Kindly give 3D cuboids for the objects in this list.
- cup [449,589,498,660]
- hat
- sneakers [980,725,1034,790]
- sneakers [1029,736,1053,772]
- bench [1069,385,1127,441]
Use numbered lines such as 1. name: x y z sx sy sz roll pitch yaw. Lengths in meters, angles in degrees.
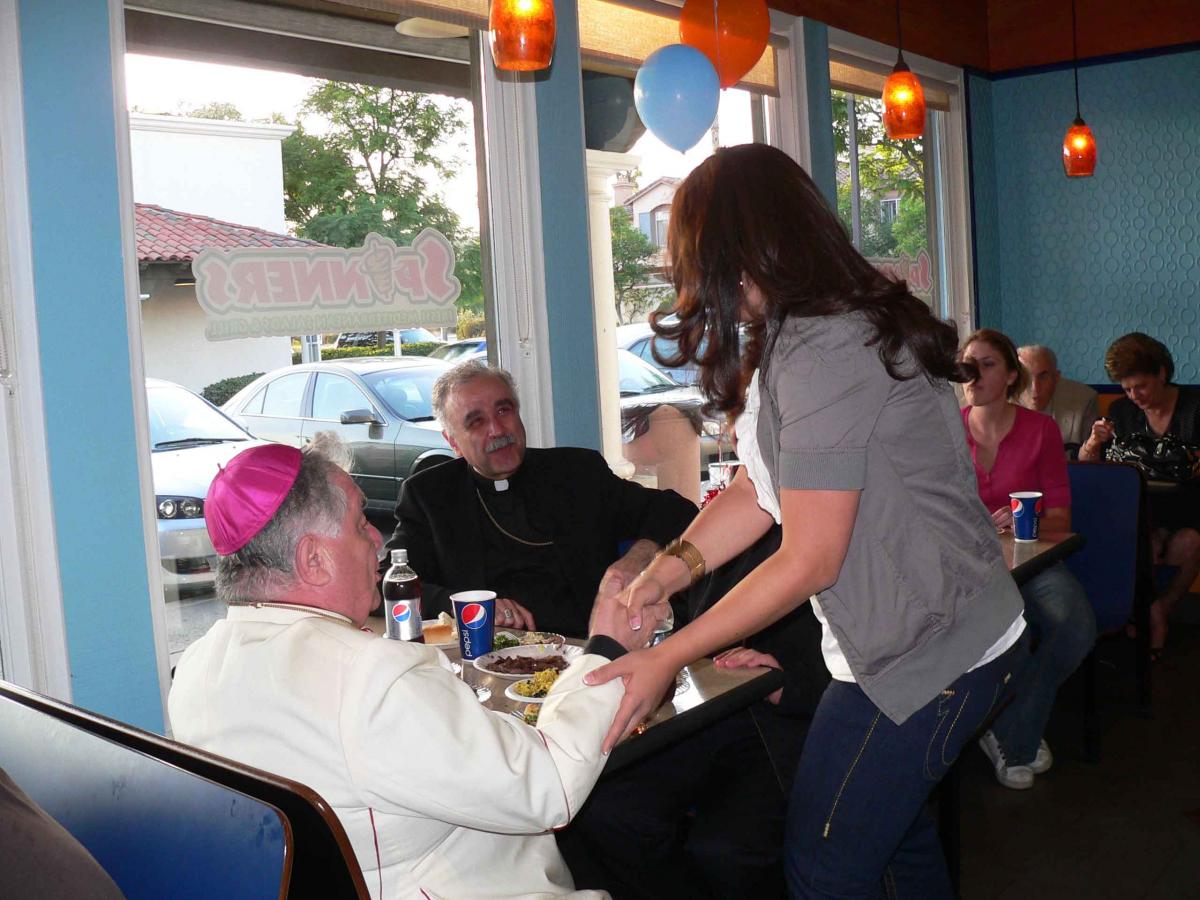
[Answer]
1. cup: -0.284 0.426 2.326 0.131 0.152 0.137 -1 -4 0
2. hat: -0.611 0.090 1.707 0.174 0.187 0.106 -6 8 -20
3. sneakers: 1.498 1.131 3.561 0.089 0.104 0.231 -18 31 -11
4. sneakers: 1.655 1.136 3.593 0.064 0.074 0.179 -5 1 25
5. bench: 2.813 -0.207 5.426 0.307 0.327 0.097 -4 23 -43
